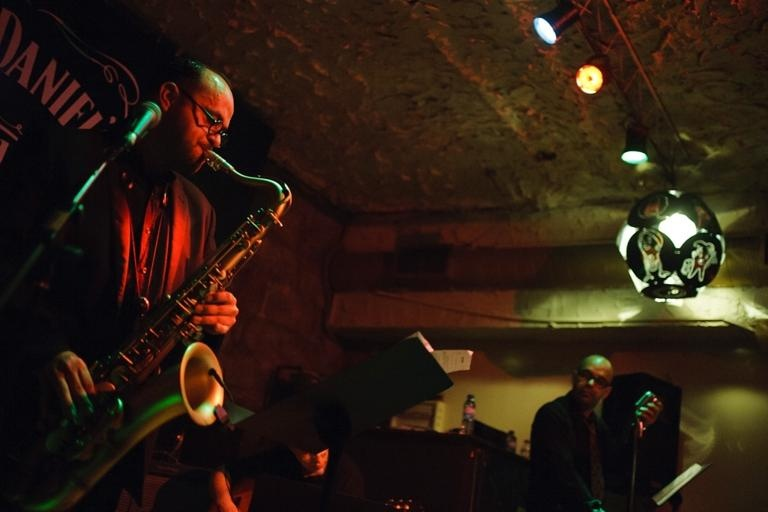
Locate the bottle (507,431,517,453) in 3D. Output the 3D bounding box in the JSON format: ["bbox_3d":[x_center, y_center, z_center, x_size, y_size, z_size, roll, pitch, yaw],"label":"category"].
[{"bbox_3d":[1.269,1.767,6.375,0.104,0.214,0.440,3,-19,12],"label":"bottle"}]

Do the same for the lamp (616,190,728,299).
[{"bbox_3d":[2.300,-0.065,5.449,0.877,0.800,0.855,5,-40,13],"label":"lamp"}]

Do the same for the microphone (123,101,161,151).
[{"bbox_3d":[-1.199,-0.653,3.275,0.155,0.219,0.106,13,-34,-13],"label":"microphone"}]

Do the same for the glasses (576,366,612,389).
[{"bbox_3d":[1.729,0.998,5.398,0.194,0.191,0.058,21,-22,14],"label":"glasses"}]

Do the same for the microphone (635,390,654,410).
[{"bbox_3d":[2.176,1.180,5.432,0.078,0.199,0.064,45,2,-31],"label":"microphone"}]
